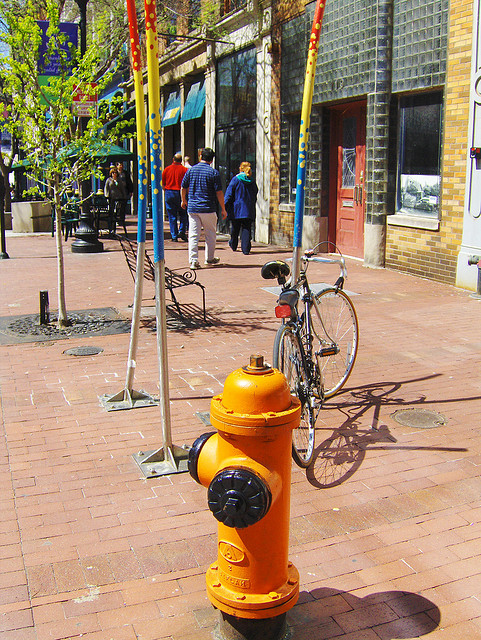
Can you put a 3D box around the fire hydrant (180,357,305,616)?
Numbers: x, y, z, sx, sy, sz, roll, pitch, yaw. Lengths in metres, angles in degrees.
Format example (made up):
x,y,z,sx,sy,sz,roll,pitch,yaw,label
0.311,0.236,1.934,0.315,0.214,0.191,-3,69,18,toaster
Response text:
x,y,z,sx,sy,sz,roll,pitch,yaw,label
0.000,0.531,2.015,0.383,0.825,0.353,1,11,5,fire hydrant

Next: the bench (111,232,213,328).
x,y,z,sx,sy,sz,roll,pitch,yaw,label
-1.127,-0.555,8.962,0.788,1.051,1.908,-10,21,-18,bench

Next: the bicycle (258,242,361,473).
x,y,z,sx,sy,sz,roll,pitch,yaw,label
0.468,0.166,4.156,0.423,0.983,1.665,-13,9,19,bicycle
